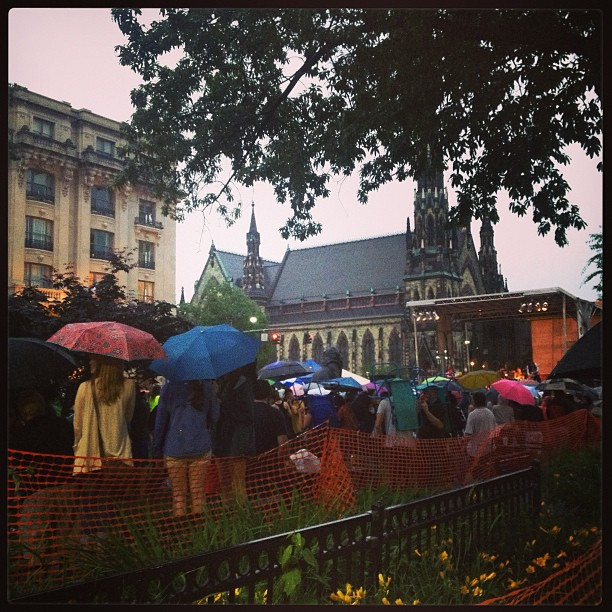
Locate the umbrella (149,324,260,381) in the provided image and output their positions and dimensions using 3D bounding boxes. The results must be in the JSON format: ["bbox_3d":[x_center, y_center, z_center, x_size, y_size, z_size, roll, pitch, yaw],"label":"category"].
[{"bbox_3d":[-1.001,0.464,7.007,0.985,0.417,1.151,-5,11,24],"label":"umbrella"}]

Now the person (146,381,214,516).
[{"bbox_3d":[-1.139,1.157,6.685,0.561,2.009,0.553,-4,29,-19],"label":"person"}]

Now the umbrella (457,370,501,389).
[{"bbox_3d":[3.491,1.493,14.221,0.785,0.349,0.836,-1,-4,3],"label":"umbrella"}]

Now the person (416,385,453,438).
[{"bbox_3d":[1.820,1.521,10.073,0.441,0.753,1.332,-1,-4,12],"label":"person"}]

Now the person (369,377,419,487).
[{"bbox_3d":[1.125,1.641,8.977,0.552,1.813,0.499,-7,-31,14],"label":"person"}]

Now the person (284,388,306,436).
[{"bbox_3d":[-0.190,1.732,11.732,0.227,0.908,0.300,18,-47,-13],"label":"person"}]

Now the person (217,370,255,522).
[{"bbox_3d":[-0.667,1.260,6.795,0.370,1.243,1.492,0,-4,-6],"label":"person"}]
